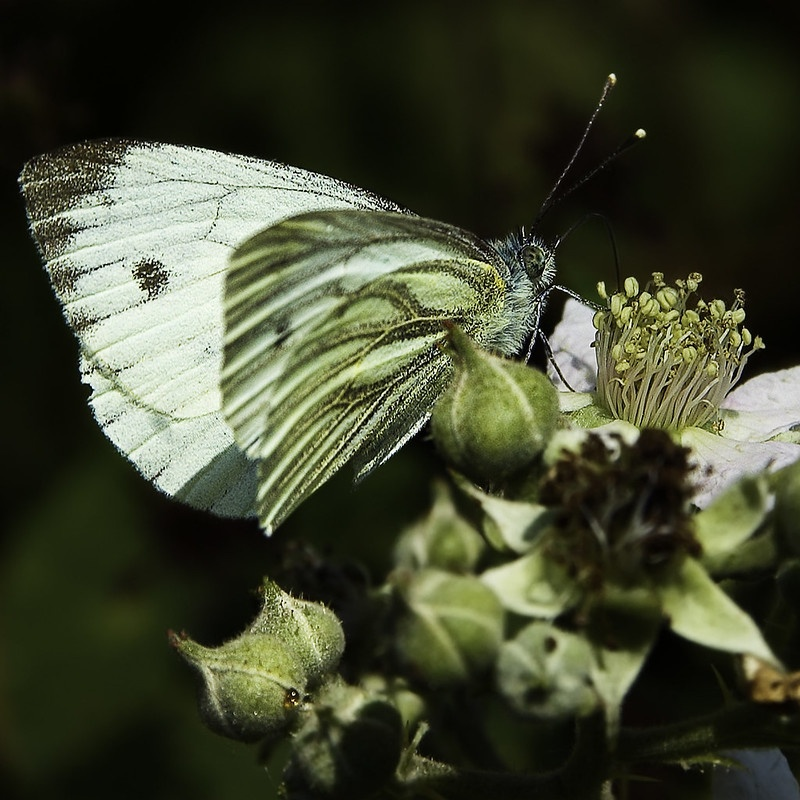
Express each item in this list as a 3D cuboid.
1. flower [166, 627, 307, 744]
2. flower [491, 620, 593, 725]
[{"bbox_3d":[-0.281,0.523,2.211,0.222,0.150,0.239,-17,49,-20],"label":"flower"},{"bbox_3d":[0.260,0.479,2.064,0.177,0.137,0.104,3,30,7],"label":"flower"}]
